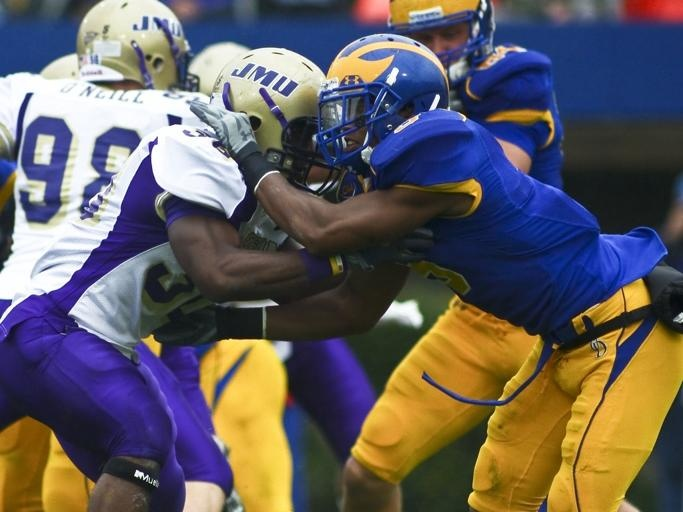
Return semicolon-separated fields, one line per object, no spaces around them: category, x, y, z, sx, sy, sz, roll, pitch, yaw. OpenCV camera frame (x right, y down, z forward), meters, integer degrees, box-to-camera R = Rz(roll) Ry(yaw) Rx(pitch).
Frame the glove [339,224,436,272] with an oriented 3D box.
glove;0.166;-0.015;3.365;0.215;0.089;0.159;-15;-1;8

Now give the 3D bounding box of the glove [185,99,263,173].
glove;-0.393;-0.450;3.524;0.329;0.171;0.177;21;30;39

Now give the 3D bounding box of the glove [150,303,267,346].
glove;-0.504;0.253;3.712;0.373;0.137;0.174;-1;4;-5

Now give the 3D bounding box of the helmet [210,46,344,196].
helmet;-0.239;-0.557;3.768;0.558;0.484;0.427;15;15;16

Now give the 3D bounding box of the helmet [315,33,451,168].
helmet;0.133;-0.567;3.583;0.516;0.455;0.380;-11;12;-22
